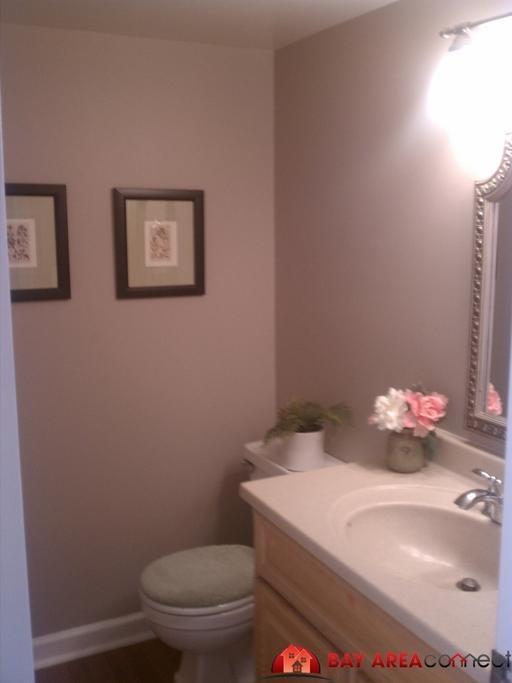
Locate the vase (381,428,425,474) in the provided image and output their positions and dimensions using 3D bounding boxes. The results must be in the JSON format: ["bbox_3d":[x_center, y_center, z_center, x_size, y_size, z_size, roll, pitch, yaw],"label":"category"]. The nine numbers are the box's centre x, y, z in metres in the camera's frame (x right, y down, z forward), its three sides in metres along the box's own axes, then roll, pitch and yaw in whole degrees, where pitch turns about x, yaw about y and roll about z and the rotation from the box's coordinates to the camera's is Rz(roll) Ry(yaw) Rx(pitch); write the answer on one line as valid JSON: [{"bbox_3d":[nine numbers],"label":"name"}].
[{"bbox_3d":[0.367,0.276,1.469,0.101,0.114,0.102,0,0,-5],"label":"vase"}]

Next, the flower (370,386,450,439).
[{"bbox_3d":[0.393,0.181,1.400,0.139,0.102,0.204,-18,14,-31],"label":"flower"}]

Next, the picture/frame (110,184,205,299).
[{"bbox_3d":[-0.339,-0.336,2.019,0.318,0.366,0.017,2,10,11],"label":"picture/frame"}]

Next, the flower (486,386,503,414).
[{"bbox_3d":[0.533,0.135,1.290,0.022,0.050,0.046,-1,6,-6],"label":"flower"}]

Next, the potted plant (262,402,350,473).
[{"bbox_3d":[0.145,0.291,1.801,0.223,0.203,0.218,-8,10,-15],"label":"potted plant"}]
